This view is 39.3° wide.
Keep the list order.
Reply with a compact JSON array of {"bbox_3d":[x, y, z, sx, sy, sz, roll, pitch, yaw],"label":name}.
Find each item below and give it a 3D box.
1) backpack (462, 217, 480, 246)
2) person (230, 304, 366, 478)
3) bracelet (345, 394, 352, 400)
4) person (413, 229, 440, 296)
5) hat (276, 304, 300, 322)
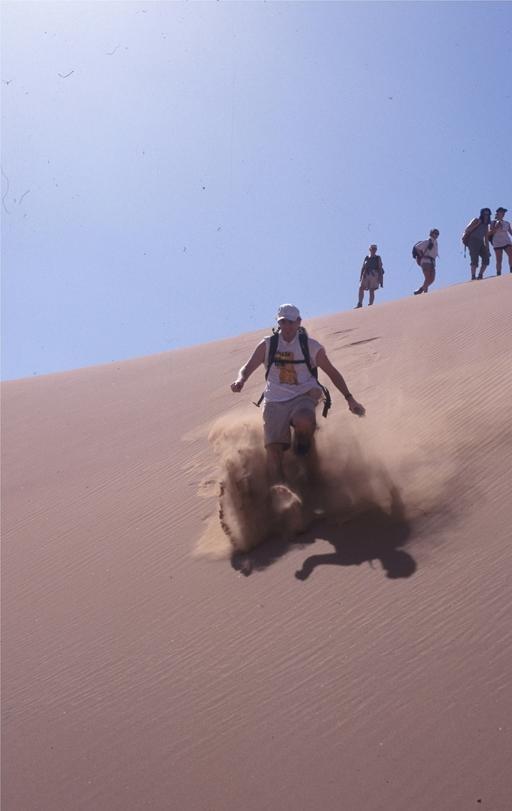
[{"bbox_3d":[3.290,-2.624,10.899,0.230,0.385,0.409,1,15,16],"label":"backpack"},{"bbox_3d":[0.217,-0.122,4.982,0.763,1.148,0.640,-4,15,-3],"label":"person"},{"bbox_3d":[0.615,-0.057,4.756,0.037,0.034,0.037,6,-11,-24],"label":"bracelet"},{"bbox_3d":[2.735,-2.281,11.549,0.338,1.057,1.494,0,15,12],"label":"person"},{"bbox_3d":[0.218,-0.618,4.821,0.141,0.134,0.230,-2,15,4],"label":"hat"}]
